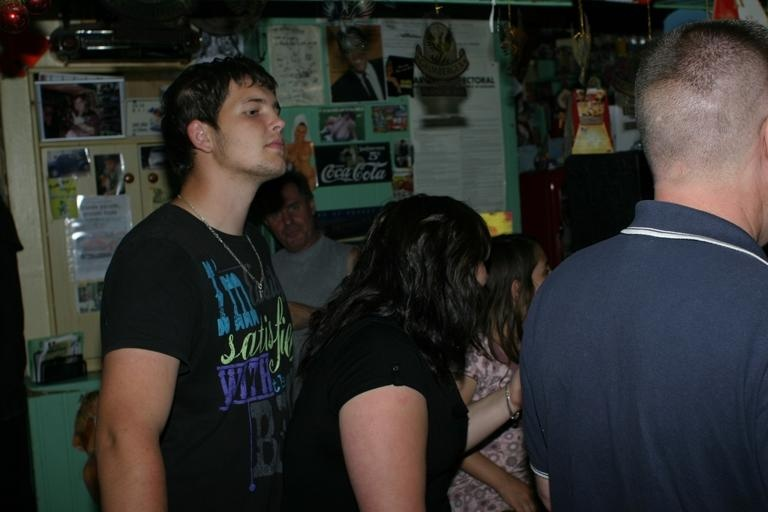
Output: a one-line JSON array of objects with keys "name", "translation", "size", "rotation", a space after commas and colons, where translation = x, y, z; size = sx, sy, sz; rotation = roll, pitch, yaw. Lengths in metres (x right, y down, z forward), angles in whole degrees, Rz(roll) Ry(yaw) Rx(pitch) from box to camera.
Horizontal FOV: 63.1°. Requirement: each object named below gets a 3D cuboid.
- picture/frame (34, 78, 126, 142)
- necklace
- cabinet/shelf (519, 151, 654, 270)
[{"name": "picture/frame", "translation": [-2.002, -0.963, 4.063], "size": [0.440, 0.347, 0.059], "rotation": [-4, 14, -14]}, {"name": "necklace", "translation": [-0.575, -0.026, 2.339], "size": [0.099, 0.352, 0.355], "rotation": [-34, 27, 8]}, {"name": "cabinet/shelf", "translation": [1.095, -0.380, 3.340], "size": [0.426, 0.676, 0.434], "rotation": [9, 47, 16]}]
